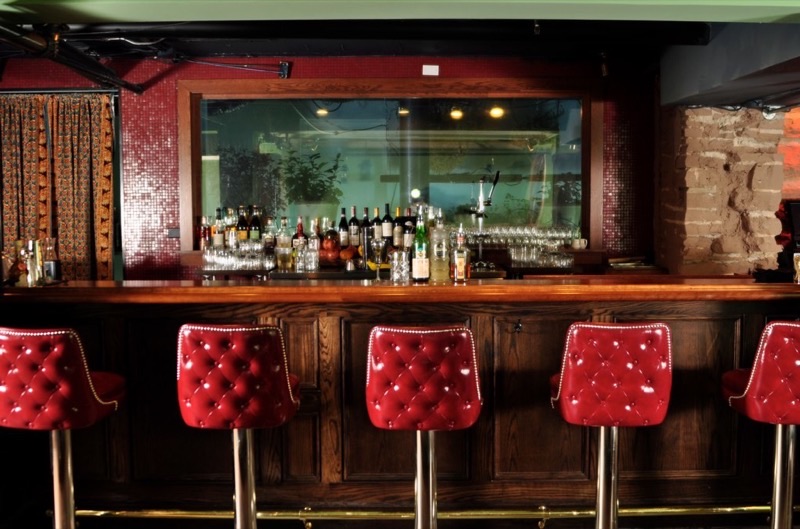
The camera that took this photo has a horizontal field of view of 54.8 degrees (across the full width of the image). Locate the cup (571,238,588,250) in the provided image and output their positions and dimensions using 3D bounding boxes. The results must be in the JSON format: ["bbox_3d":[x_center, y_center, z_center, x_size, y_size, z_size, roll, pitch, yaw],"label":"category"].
[{"bbox_3d":[1.855,-0.212,7.960,0.159,0.110,0.100,1,2,3],"label":"cup"}]

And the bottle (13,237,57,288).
[{"bbox_3d":[-2.657,-0.014,5.667,0.281,0.345,0.246,-3,3,-27],"label":"bottle"}]
